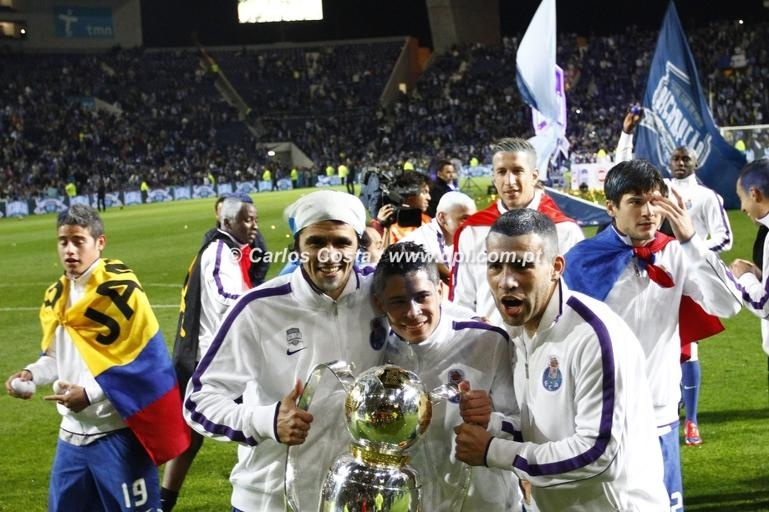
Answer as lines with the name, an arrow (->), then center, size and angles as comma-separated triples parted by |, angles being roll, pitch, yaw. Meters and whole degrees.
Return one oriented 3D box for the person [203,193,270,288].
person -> -2.134, -0.264, 15.620 | 1.128, 1.606, 0.521 | -1, 1, -27
